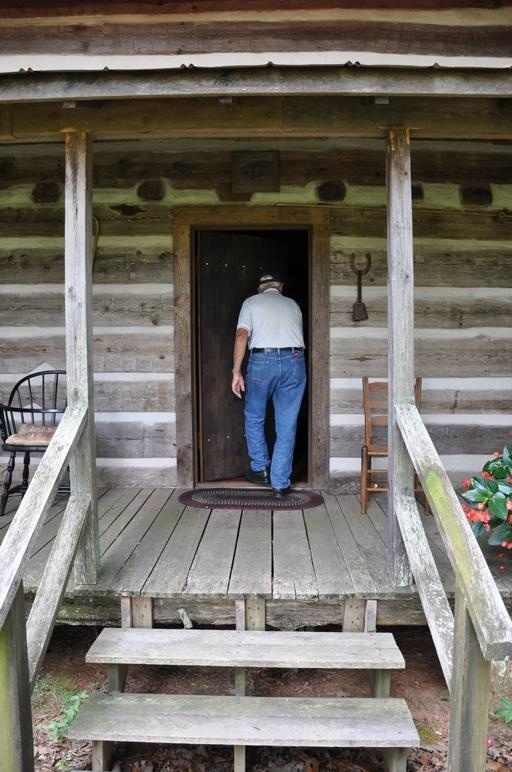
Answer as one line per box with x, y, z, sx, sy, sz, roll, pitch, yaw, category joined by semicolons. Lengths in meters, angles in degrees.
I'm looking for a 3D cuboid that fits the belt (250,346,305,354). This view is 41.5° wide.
0.132;-0.224;4.482;0.337;0.050;0.154;1;6;3;belt

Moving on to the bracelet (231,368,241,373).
-0.125;-0.096;4.467;0.047;0.044;0.041;6;-5;-6;bracelet

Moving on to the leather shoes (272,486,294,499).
0.172;0.710;4.480;0.117;0.089;0.114;0;6;-2;leather shoes

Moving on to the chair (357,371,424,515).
0.886;0.379;4.317;0.471;0.821;0.467;1;3;18;chair

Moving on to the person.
0.076;0.063;4.536;0.485;1.348;0.436;2;6;16;person
